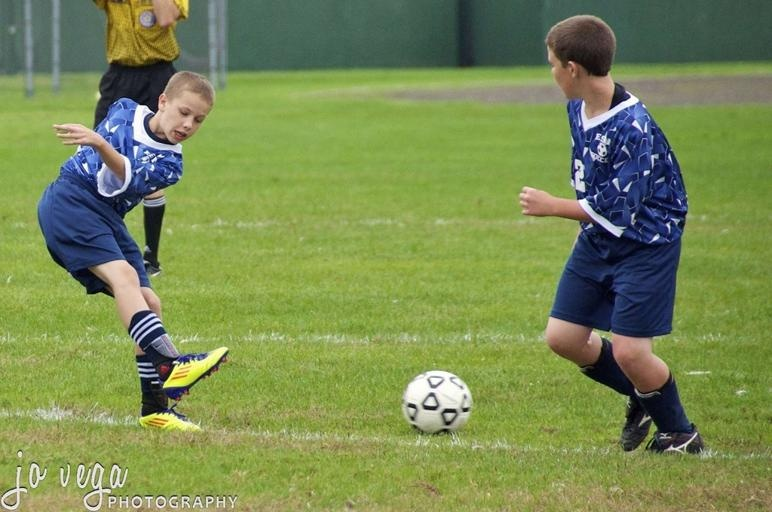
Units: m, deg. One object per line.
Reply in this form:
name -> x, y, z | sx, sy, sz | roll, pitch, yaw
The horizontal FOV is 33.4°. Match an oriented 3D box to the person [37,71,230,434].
person -> -1.858, -0.042, 9.291 | 1.262, 2.557, 0.692 | 0, 10, -4

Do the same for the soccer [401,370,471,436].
soccer -> 0.360, 1.067, 9.607 | 0.538, 0.476, 0.475 | 5, 24, 17

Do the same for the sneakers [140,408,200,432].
sneakers -> -1.557, 1.199, 9.349 | 0.450, 0.168, 0.161 | 1, 0, 2
